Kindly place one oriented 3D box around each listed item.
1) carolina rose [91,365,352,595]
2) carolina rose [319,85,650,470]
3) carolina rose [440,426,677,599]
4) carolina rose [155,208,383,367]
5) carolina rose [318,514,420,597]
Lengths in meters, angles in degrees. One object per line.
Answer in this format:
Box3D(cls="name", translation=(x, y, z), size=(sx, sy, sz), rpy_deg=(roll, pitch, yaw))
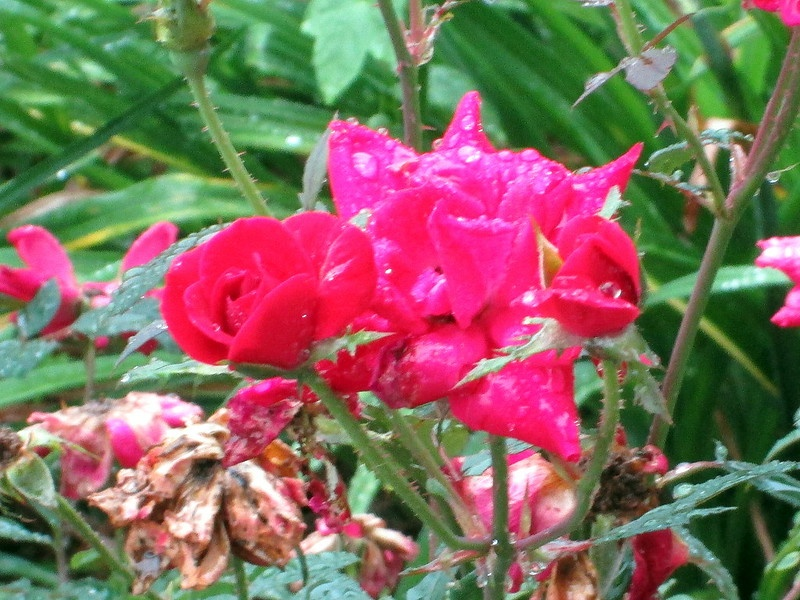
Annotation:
Box3D(cls="carolina rose", translation=(-0.105, 0.096, 0.491), size=(0.101, 0.101, 0.050), rpy_deg=(4, -15, 10))
Box3D(cls="carolina rose", translation=(0.031, -0.010, 0.458), size=(0.153, 0.164, 0.092), rpy_deg=(18, -21, -10))
Box3D(cls="carolina rose", translation=(0.088, 0.141, 0.514), size=(0.108, 0.051, 0.110), rpy_deg=(15, -19, 17))
Box3D(cls="carolina rose", translation=(-0.061, -0.007, 0.431), size=(0.076, 0.041, 0.079), rpy_deg=(-19, 40, 1))
Box3D(cls="carolina rose", translation=(-0.013, 0.159, 0.596), size=(0.059, 0.060, 0.024), rpy_deg=(-4, 7, 8))
